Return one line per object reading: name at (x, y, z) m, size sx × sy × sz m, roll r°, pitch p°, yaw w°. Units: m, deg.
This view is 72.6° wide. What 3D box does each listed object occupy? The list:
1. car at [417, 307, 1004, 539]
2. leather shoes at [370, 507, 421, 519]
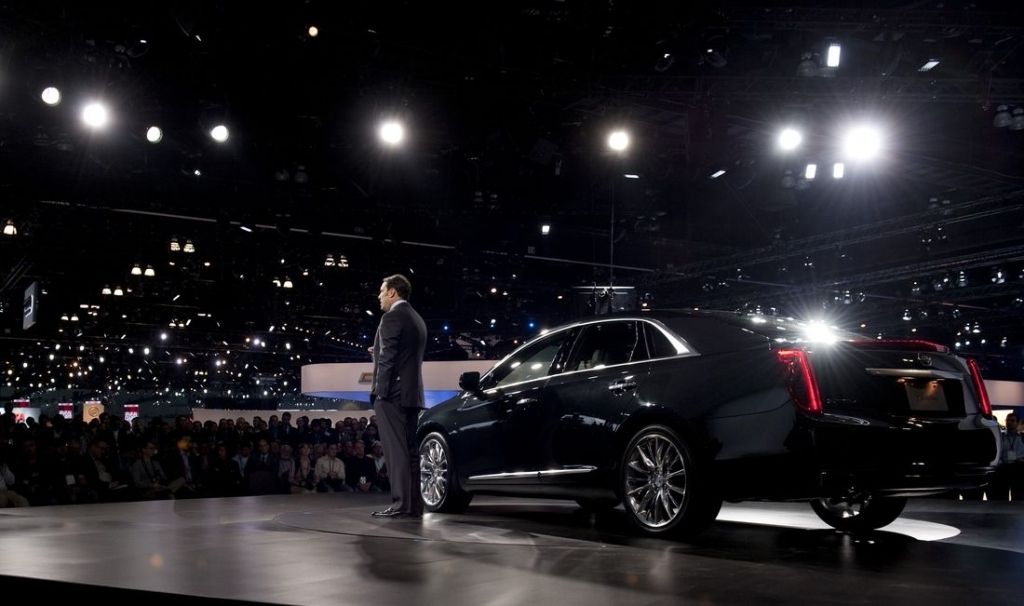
car at (1.417, 0.988, 7.960) m, size 5.992 × 1.689 × 2.786 m, roll -7°, pitch -13°, yaw 43°
leather shoes at (-1.336, 2.389, 7.984) m, size 0.539 × 0.141 × 0.185 m, roll 6°, pitch -22°, yaw -3°
